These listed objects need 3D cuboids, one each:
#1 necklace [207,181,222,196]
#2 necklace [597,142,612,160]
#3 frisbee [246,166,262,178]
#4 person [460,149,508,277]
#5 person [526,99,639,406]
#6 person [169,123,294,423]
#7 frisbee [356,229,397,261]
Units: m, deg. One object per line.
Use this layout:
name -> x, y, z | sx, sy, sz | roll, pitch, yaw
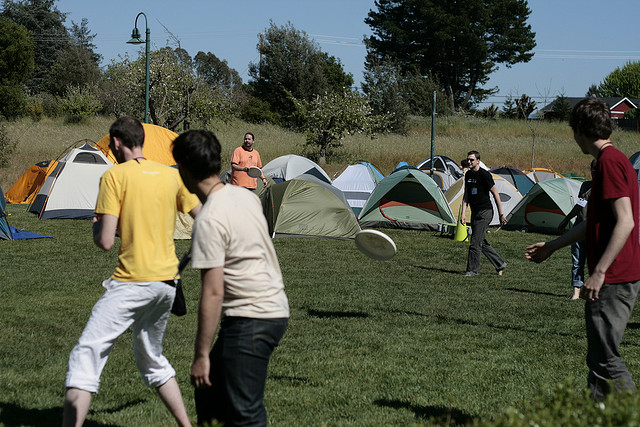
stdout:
necklace -> -0.788, -0.186, 4.225 | 0.113, 0.105, 0.029 | -5, 8, -43
necklace -> 2.369, -0.518, 4.704 | 0.030, 0.121, 0.122 | 19, 21, -29
frisbee -> -1.449, -0.908, 12.502 | 0.307, 0.257, 0.361 | 1, 7, -9
person -> 3.135, 0.048, 10.835 | 0.782, 2.442, 0.904 | 1, 6, -5
person -> 2.391, 0.287, 4.707 | 0.530, 2.459, 0.658 | -3, 8, -38
person -> -0.661, 0.472, 4.207 | 0.847, 2.160, 0.464 | 1, 6, -4
frisbee -> 0.615, 0.358, 6.310 | 0.425, 0.432, 0.684 | 2, 7, 4
